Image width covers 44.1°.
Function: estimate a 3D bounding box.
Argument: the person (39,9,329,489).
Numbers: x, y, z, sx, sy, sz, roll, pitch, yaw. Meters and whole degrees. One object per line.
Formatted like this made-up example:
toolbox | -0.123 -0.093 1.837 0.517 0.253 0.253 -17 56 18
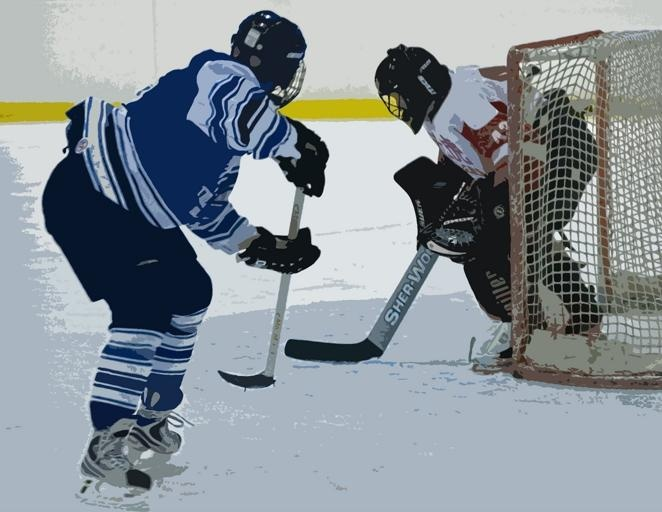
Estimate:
person | -0.596 0.037 2.980 0.936 1.558 0.380 5 13 -8
